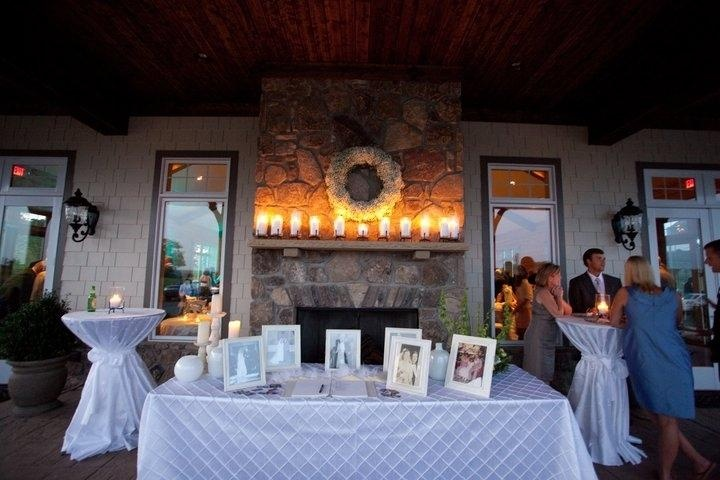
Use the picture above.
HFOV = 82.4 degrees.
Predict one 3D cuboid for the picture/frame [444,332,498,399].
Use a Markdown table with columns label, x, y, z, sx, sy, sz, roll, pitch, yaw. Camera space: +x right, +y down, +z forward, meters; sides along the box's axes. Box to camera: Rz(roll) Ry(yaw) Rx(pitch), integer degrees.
| label | x | y | z | sx | sy | sz | roll | pitch | yaw |
| --- | --- | --- | --- | --- | --- | --- | --- | --- | --- |
| picture/frame | 0.938 | 1.079 | 3.475 | 0.461 | 0.563 | 0.042 | 4 | -24 | 21 |

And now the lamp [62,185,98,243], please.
| label | x | y | z | sx | sy | sz | roll | pitch | yaw |
| --- | --- | --- | --- | --- | --- | --- | --- | --- | --- |
| lamp | -3.932 | -0.335 | 5.848 | 0.383 | 0.722 | 0.398 | 3 | -5 | -22 |

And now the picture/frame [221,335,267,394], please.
| label | x | y | z | sx | sy | sz | roll | pitch | yaw |
| --- | --- | --- | --- | --- | --- | --- | --- | --- | --- |
| picture/frame | -1.000 | 1.078 | 3.522 | 0.424 | 0.494 | 0.035 | 2 | -20 | -23 |

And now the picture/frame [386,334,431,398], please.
| label | x | y | z | sx | sy | sz | roll | pitch | yaw |
| --- | --- | --- | --- | --- | --- | --- | --- | --- | --- |
| picture/frame | 0.415 | 1.080 | 3.479 | 0.450 | 0.534 | 0.040 | 3 | -22 | 21 |

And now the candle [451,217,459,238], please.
| label | x | y | z | sx | sy | sz | roll | pitch | yaw |
| --- | --- | --- | --- | --- | --- | --- | --- | --- | --- |
| candle | 1.174 | -0.154 | 5.108 | 0.080 | 0.286 | 0.135 | -1 | -6 | 28 |

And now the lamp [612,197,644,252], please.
| label | x | y | z | sx | sy | sz | roll | pitch | yaw |
| --- | --- | --- | --- | --- | --- | --- | --- | --- | --- |
| lamp | 3.807 | -0.219 | 5.879 | 0.355 | 0.711 | 0.435 | -2 | -6 | 32 |

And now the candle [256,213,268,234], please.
| label | x | y | z | sx | sy | sz | roll | pitch | yaw |
| --- | --- | --- | --- | --- | --- | --- | --- | --- | --- |
| candle | -1.222 | -0.200 | 5.122 | 0.153 | 0.303 | 0.127 | 2 | -5 | -12 |

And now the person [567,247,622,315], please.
| label | x | y | z | sx | sy | sz | roll | pitch | yaw |
| --- | --- | --- | --- | --- | --- | --- | --- | --- | --- |
| person | 3.162 | 0.577 | 5.403 | 0.746 | 0.902 | 0.753 | 5 | 12 | 42 |

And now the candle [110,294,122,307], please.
| label | x | y | z | sx | sy | sz | roll | pitch | yaw |
| --- | --- | --- | --- | --- | --- | --- | --- | --- | --- |
| candle | -2.709 | 0.663 | 4.564 | 0.126 | 0.124 | 0.128 | -1 | -1 | 19 |

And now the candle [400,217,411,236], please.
| label | x | y | z | sx | sy | sz | roll | pitch | yaw |
| --- | --- | --- | --- | --- | --- | --- | --- | --- | --- |
| candle | 0.569 | -0.165 | 5.102 | 0.133 | 0.268 | 0.156 | 1 | -5 | 4 |

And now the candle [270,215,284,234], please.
| label | x | y | z | sx | sy | sz | roll | pitch | yaw |
| --- | --- | --- | --- | --- | --- | --- | --- | --- | --- |
| candle | -1.040 | -0.185 | 5.125 | 0.159 | 0.269 | 0.157 | 2 | -5 | -12 |

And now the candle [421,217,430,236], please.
| label | x | y | z | sx | sy | sz | roll | pitch | yaw |
| --- | --- | --- | --- | --- | --- | --- | --- | --- | --- |
| candle | 0.818 | -0.171 | 5.101 | 0.124 | 0.295 | 0.162 | 1 | -5 | 7 |

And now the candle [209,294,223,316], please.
| label | x | y | z | sx | sy | sz | roll | pitch | yaw |
| --- | --- | --- | --- | --- | --- | --- | --- | --- | --- |
| candle | -1.383 | 0.614 | 3.934 | 0.088 | 0.189 | 0.169 | 3 | -5 | -24 |

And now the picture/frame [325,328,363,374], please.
| label | x | y | z | sx | sy | sz | roll | pitch | yaw |
| --- | --- | --- | --- | --- | --- | --- | --- | --- | --- |
| picture/frame | -0.152 | 1.020 | 3.762 | 0.455 | 0.522 | 0.028 | 0 | -3 | -5 |

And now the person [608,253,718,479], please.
| label | x | y | z | sx | sy | sz | roll | pitch | yaw |
| --- | --- | --- | --- | --- | --- | --- | --- | --- | --- |
| person | 2.950 | 1.247 | 4.161 | 0.665 | 2.182 | 0.259 | -2 | -6 | 32 |

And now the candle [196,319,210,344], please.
| label | x | y | z | sx | sy | sz | roll | pitch | yaw |
| --- | --- | --- | --- | --- | --- | --- | --- | --- | --- |
| candle | -1.488 | 0.867 | 3.905 | 0.115 | 0.217 | 0.184 | 3 | -5 | -21 |

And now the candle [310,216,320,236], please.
| label | x | y | z | sx | sy | sz | roll | pitch | yaw |
| --- | --- | --- | --- | --- | --- | --- | --- | --- | --- |
| candle | -0.558 | -0.182 | 5.135 | 0.133 | 0.268 | 0.149 | 2 | -5 | -10 |

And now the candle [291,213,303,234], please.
| label | x | y | z | sx | sy | sz | roll | pitch | yaw |
| --- | --- | --- | --- | --- | --- | --- | --- | --- | --- |
| candle | -0.795 | -0.212 | 5.132 | 0.143 | 0.329 | 0.134 | 2 | -5 | -10 |

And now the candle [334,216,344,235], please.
| label | x | y | z | sx | sy | sz | roll | pitch | yaw |
| --- | --- | --- | --- | --- | --- | --- | --- | --- | --- |
| candle | -0.248 | -0.180 | 5.092 | 0.126 | 0.263 | 0.135 | 2 | -5 | -4 |

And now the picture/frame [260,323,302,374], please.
| label | x | y | z | sx | sy | sz | roll | pitch | yaw |
| --- | --- | --- | --- | --- | --- | --- | --- | --- | --- |
| picture/frame | -0.717 | 0.988 | 3.707 | 0.426 | 0.427 | 0.035 | 2 | -7 | -12 |

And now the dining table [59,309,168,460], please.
| label | x | y | z | sx | sy | sz | roll | pitch | yaw |
| --- | --- | --- | --- | --- | --- | --- | --- | --- | --- |
| dining table | -2.699 | 1.471 | 4.991 | 1.424 | 1.408 | 1.396 | -1 | 4 | -41 |

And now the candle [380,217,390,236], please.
| label | x | y | z | sx | sy | sz | roll | pitch | yaw |
| --- | --- | --- | --- | --- | --- | --- | --- | --- | --- |
| candle | 0.294 | -0.163 | 5.065 | 0.115 | 0.257 | 0.075 | 0 | -5 | 14 |

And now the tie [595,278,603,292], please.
| label | x | y | z | sx | sy | sz | roll | pitch | yaw |
| --- | --- | --- | --- | --- | --- | --- | --- | --- | --- |
| tie | 3.193 | 0.593 | 5.487 | 0.122 | 0.172 | 0.043 | 0 | -13 | 5 |
